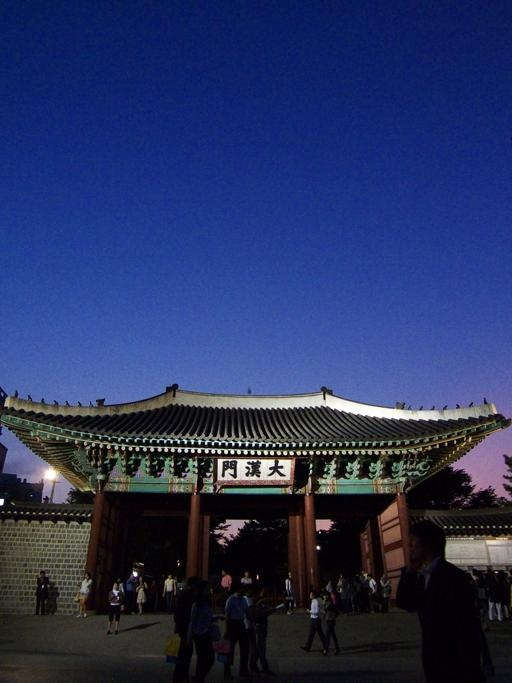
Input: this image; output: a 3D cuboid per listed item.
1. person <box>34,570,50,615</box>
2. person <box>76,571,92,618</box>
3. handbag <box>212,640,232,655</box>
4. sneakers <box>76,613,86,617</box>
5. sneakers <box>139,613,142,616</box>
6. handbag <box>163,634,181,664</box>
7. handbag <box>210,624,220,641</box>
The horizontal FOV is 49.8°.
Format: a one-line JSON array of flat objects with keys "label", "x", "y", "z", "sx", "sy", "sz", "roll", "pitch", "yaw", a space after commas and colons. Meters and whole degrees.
[{"label": "person", "x": -6.868, "y": 8.071, "z": 17.624, "sx": 0.391, "sy": 1.293, "sz": 0.555, "roll": 10, "pitch": -22, "yaw": -19}, {"label": "person", "x": -5.206, "y": 7.672, "z": 16.649, "sx": 0.365, "sy": 1.230, "sz": 0.803, "roll": 7, "pitch": -22, "yaw": -14}, {"label": "handbag", "x": -0.442, "y": 4.060, "z": 7.247, "sx": 0.219, "sy": 0.258, "sz": 0.508, "roll": 2, "pitch": -21, "yaw": 1}, {"label": "sneakers", "x": -5.183, "y": 8.190, "z": 16.402, "sx": 0.266, "sy": 0.101, "sz": 0.510, "roll": 8, "pitch": -22, "yaw": -15}, {"label": "sneakers", "x": -3.484, "y": 8.262, "z": 16.608, "sx": 0.089, "sy": 0.047, "sz": 0.137, "roll": -1, "pitch": -26, "yaw": 9}, {"label": "handbag", "x": -1.002, "y": 3.707, "z": 6.601, "sx": 0.160, "sy": 0.286, "sz": 0.242, "roll": 4, "pitch": -21, "yaw": -5}, {"label": "handbag", "x": -0.519, "y": 3.779, "z": 7.129, "sx": 0.106, "sy": 0.204, "sz": 0.217, "roll": -3, "pitch": -22, "yaw": 12}]
